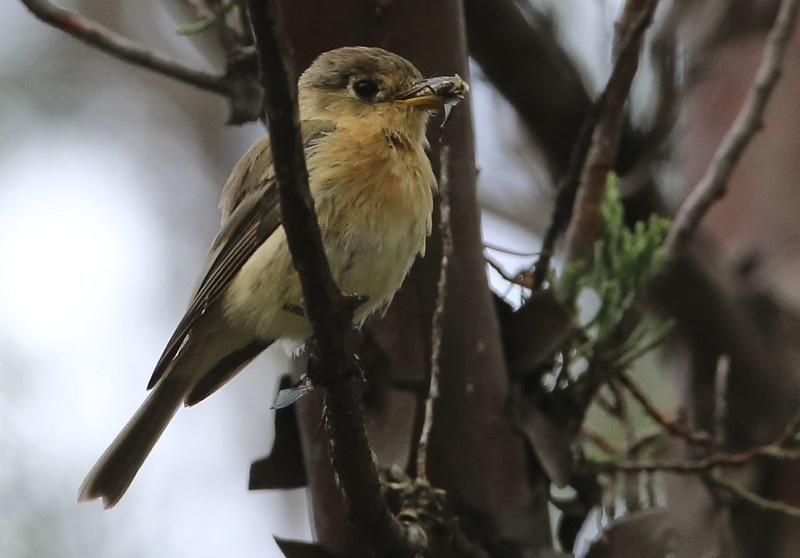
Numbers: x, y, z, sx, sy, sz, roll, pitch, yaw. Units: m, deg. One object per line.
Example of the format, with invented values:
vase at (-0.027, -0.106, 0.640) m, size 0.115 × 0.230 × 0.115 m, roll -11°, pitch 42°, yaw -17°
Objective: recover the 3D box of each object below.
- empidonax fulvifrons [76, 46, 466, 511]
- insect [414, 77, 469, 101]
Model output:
empidonax fulvifrons at (-0.239, -0.004, 2.847) m, size 0.439 × 0.732 × 0.984 m, roll 27°, pitch -51°, yaw -25°
insect at (0.102, -0.432, 2.829) m, size 0.086 × 0.066 × 0.038 m, roll 1°, pitch -1°, yaw -3°
